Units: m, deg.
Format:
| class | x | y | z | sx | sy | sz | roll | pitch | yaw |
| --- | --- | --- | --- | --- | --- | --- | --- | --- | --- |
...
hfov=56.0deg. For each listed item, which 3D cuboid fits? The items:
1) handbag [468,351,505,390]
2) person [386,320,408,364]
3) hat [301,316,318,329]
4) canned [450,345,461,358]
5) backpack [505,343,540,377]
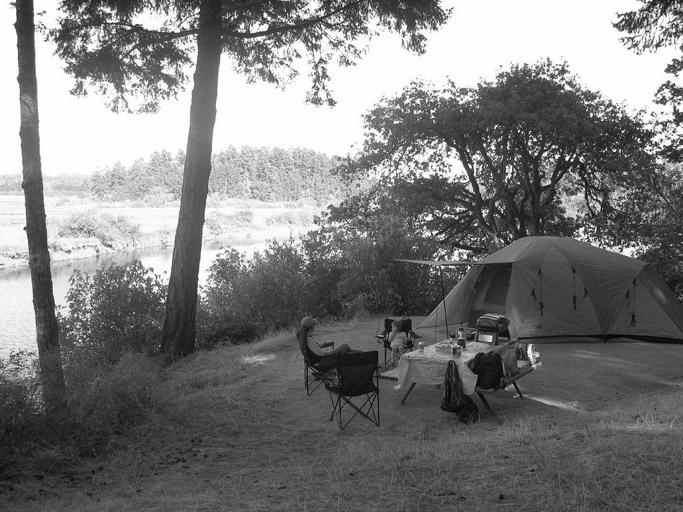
| class | x | y | z | sx | sy | sz | roll | pitch | yaw |
| --- | --- | --- | --- | --- | --- | --- | --- | --- | --- |
| handbag | 2.732 | 2.215 | 12.094 | 0.528 | 0.705 | 0.491 | 1 | -12 | 6 |
| person | 1.276 | 1.887 | 14.311 | 0.481 | 1.002 | 0.563 | 2 | -3 | 24 |
| hat | -0.653 | 1.426 | 13.363 | 0.316 | 0.204 | 0.254 | -16 | 12 | -29 |
| canned | 2.192 | 1.818 | 12.263 | 0.168 | 0.210 | 0.193 | 0 | -3 | -3 |
| backpack | 3.722 | 2.187 | 13.471 | 0.818 | 0.364 | 0.631 | -11 | 9 | -29 |
